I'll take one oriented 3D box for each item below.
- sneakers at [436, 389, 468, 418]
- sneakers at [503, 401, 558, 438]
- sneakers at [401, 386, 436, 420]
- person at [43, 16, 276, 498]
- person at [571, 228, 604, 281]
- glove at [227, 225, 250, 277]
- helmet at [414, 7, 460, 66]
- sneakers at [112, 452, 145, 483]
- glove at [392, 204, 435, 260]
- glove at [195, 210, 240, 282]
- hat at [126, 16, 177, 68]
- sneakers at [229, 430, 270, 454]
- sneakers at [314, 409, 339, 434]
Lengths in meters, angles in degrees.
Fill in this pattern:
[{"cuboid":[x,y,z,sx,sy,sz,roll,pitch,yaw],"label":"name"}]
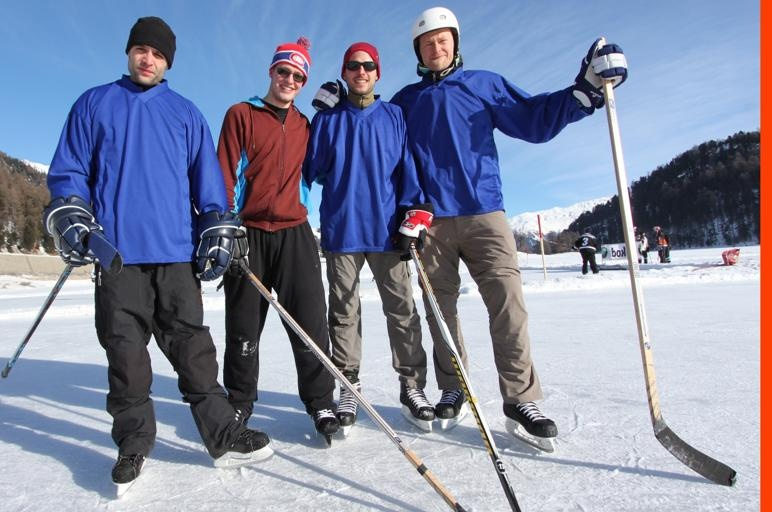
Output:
[{"cuboid":[0.502,1.143,4.445,0.172,0.168,0.359,-1,3,23],"label":"sneakers"},{"cuboid":[1.035,1.167,4.119,0.174,0.185,0.401,-3,3,-26],"label":"sneakers"},{"cuboid":[0.229,1.134,4.459,0.205,0.219,0.333,-3,3,-14],"label":"sneakers"},{"cuboid":[-1.670,-0.114,3.991,1.284,3.200,0.502,-3,2,-14],"label":"person"},{"cuboid":[6.619,-0.075,18.798,0.641,1.524,0.453,-3,-24,21],"label":"person"},{"cuboid":[-1.093,-0.048,4.242,0.120,0.322,0.221,0,-5,28],"label":"glove"},{"cuboid":[0.401,-1.791,4.602,0.358,0.365,0.248,-2,3,4],"label":"helmet"},{"cuboid":[-1.730,1.403,3.781,0.164,0.145,0.159,-2,3,-8],"label":"sneakers"},{"cuboid":[0.220,-0.179,4.498,0.227,0.426,0.301,28,-8,-40],"label":"glove"},{"cuboid":[-1.225,-0.067,4.090,0.294,0.496,0.189,1,-2,3],"label":"glove"},{"cuboid":[-1.715,-1.649,4.196,0.296,0.264,0.269,2,9,-20],"label":"hat"},{"cuboid":[-0.949,1.290,3.989,0.277,0.126,0.117,10,-3,-11],"label":"sneakers"},{"cuboid":[-0.453,1.242,4.275,0.187,0.146,0.332,-3,3,-9],"label":"sneakers"}]
